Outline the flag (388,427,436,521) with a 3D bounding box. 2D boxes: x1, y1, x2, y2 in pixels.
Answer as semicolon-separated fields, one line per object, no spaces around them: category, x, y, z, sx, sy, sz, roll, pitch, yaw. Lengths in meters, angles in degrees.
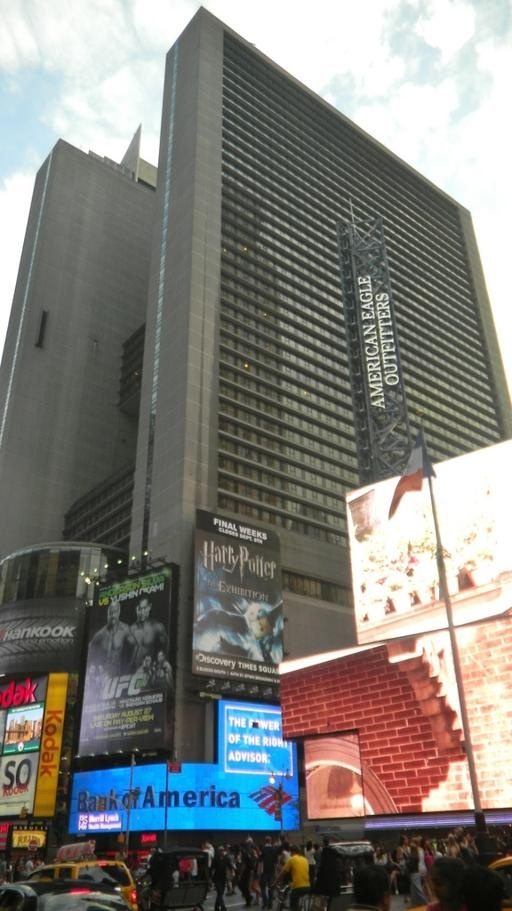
flag;6.584;0.535;26.454;1.875;3.215;4.560;-9;-25;11
